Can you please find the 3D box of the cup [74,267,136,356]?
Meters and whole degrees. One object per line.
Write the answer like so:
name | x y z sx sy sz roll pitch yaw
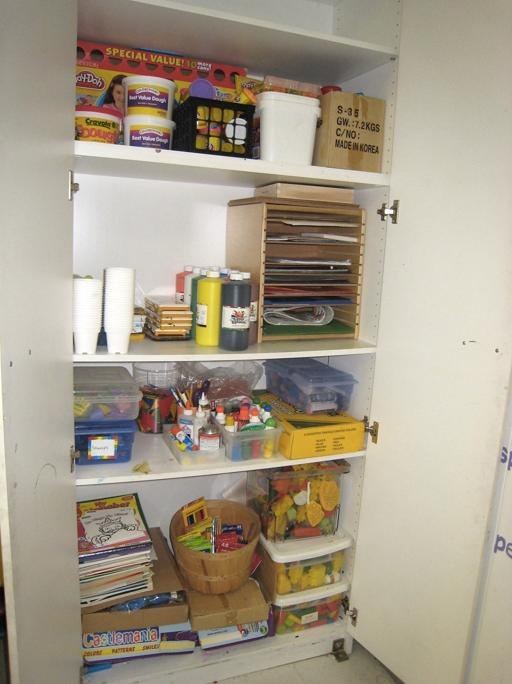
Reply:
cup | -0.379 -0.076 1.409 0.134 0.211 0.154 2 12 5

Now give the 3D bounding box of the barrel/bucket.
barrel/bucket | -0.131 0.653 1.788 0.285 0.174 0.294 4 16 -1

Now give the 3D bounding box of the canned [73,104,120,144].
canned | -0.390 -0.525 1.379 0.088 0.092 0.134 2 12 5

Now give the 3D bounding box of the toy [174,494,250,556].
toy | -0.154 0.589 1.826 0.176 0.055 0.161 2 5 24

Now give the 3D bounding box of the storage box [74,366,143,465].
storage box | -0.418 0.212 1.601 0.189 0.170 0.277 0 2 -16

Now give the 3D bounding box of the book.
book | -0.430 0.599 1.646 0.208 0.084 0.264 -3 17 -25

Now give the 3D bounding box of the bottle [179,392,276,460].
bottle | -0.080 0.252 1.658 0.221 0.082 0.215 1 11 0

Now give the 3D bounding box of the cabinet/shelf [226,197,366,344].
cabinet/shelf | 0.115 -0.217 1.882 0.492 0.541 0.445 -1 5 -18

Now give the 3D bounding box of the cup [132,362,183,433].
cup | -0.306 0.150 1.910 0.211 0.301 0.208 1 14 0

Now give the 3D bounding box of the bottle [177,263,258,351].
bottle | -0.104 -0.088 1.591 0.236 0.236 0.135 6 16 19

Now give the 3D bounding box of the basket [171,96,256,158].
basket | -0.104 -0.565 1.470 0.182 0.104 0.176 0 24 -16
